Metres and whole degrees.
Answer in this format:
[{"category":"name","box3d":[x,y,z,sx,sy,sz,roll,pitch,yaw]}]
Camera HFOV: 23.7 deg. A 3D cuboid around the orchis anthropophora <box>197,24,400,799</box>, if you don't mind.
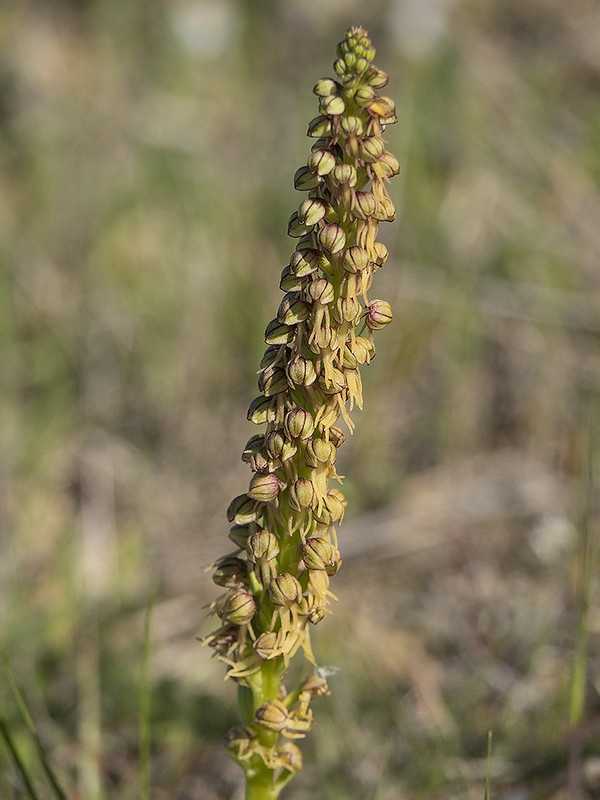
[{"category":"orchis anthropophora","box3d":[0.000,0.037,1.608,0.181,0.848,0.280,4,-4,-5]}]
